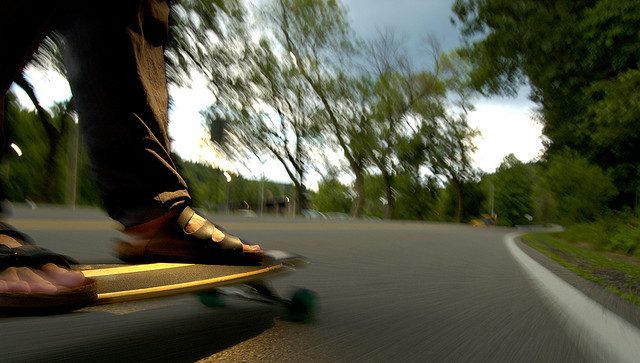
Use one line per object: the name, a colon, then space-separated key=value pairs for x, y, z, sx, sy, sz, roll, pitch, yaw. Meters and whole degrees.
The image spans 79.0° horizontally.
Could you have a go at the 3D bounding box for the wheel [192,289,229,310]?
wheel: x=-0.697 y=0.765 z=2.508 sx=0.195 sy=0.090 sz=0.157 roll=-5 pitch=-12 yaw=23

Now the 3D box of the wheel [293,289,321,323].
wheel: x=-0.088 y=0.799 z=2.539 sx=0.176 sy=0.221 sz=0.183 roll=1 pitch=-6 yaw=0
